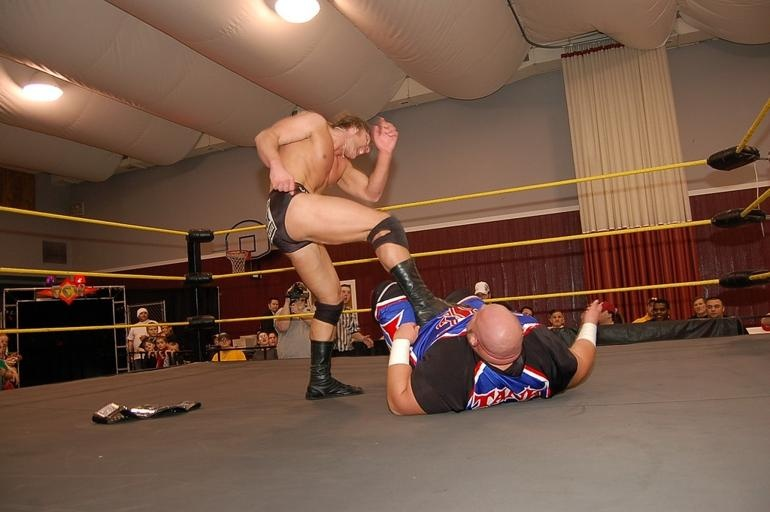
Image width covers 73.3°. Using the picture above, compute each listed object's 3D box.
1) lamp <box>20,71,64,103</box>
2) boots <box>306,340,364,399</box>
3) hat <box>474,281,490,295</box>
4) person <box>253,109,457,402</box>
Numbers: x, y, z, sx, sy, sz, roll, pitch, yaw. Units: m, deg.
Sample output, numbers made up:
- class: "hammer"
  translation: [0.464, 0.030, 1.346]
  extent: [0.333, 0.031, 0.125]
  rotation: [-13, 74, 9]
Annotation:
- class: "lamp"
  translation: [-4.029, -1.993, 6.153]
  extent: [0.428, 0.269, 0.480]
  rotation: [-5, 4, -13]
- class: "boots"
  translation: [-0.283, 0.671, 3.028]
  extent: [0.335, 0.294, 0.169]
  rotation: [2, -8, -20]
- class: "hat"
  translation: [1.305, 0.422, 6.888]
  extent: [0.152, 0.119, 0.231]
  rotation: [-4, -11, 19]
- class: "person"
  translation: [-0.208, -0.084, 2.974]
  extent: [0.997, 1.769, 0.759]
  rotation: [1, -14, -5]
